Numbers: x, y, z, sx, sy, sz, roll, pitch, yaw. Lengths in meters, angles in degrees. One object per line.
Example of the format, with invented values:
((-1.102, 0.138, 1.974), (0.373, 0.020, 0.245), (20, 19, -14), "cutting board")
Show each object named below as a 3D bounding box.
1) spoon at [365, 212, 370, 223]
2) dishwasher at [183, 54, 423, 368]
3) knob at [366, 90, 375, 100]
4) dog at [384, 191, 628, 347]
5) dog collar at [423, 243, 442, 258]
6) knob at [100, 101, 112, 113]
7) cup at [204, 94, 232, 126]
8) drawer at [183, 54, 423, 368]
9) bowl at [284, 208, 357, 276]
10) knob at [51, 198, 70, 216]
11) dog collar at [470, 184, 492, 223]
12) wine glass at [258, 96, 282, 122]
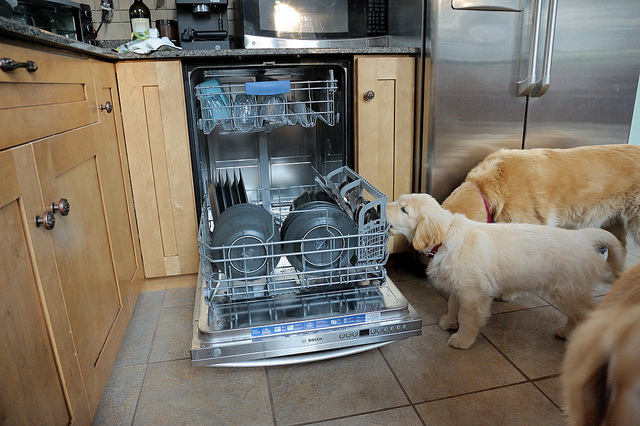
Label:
((0.202, 0.016, 1.826), (0.019, 0.039, 0.062), (-1, 21, 6), "spoon")
((-0.198, -0.180, 2.132), (0.964, 1.033, 1.476), (-5, 22, -11), "dishwasher")
((0.270, -0.641, 2.300), (0.037, 0.036, 0.012), (-12, 16, -20), "knob")
((0.832, 0.271, 1.923), (1.146, 0.619, 0.285), (-1, 9, 2), "dog")
((0.502, 0.175, 1.915), (0.014, 0.060, 0.060), (34, 73, 10), "dog collar")
((-0.982, -0.489, 1.942), (0.058, 0.055, 0.017), (-6, 25, -12), "knob")
((-0.501, -0.509, 2.081), (0.118, 0.163, 0.059), (-28, 13, -9), "cup")
((-0.215, -0.184, 2.123), (1.011, 1.018, 1.470), (-9, 26, -14), "drawer")
((0.008, 0.141, 1.750), (0.313, 0.314, 0.188), (-5, 21, -4), "bowl")
((-0.850, -0.019, 1.385), (0.032, 0.044, 0.044), (-3, 27, 3), "knob")
((0.835, -0.022, 2.153), (0.032, 0.118, 0.126), (-12, -14, -2), "dog collar")
((-0.238, -0.510, 2.085), (0.125, 0.135, 0.042), (4, 14, -17), "wine glass")
